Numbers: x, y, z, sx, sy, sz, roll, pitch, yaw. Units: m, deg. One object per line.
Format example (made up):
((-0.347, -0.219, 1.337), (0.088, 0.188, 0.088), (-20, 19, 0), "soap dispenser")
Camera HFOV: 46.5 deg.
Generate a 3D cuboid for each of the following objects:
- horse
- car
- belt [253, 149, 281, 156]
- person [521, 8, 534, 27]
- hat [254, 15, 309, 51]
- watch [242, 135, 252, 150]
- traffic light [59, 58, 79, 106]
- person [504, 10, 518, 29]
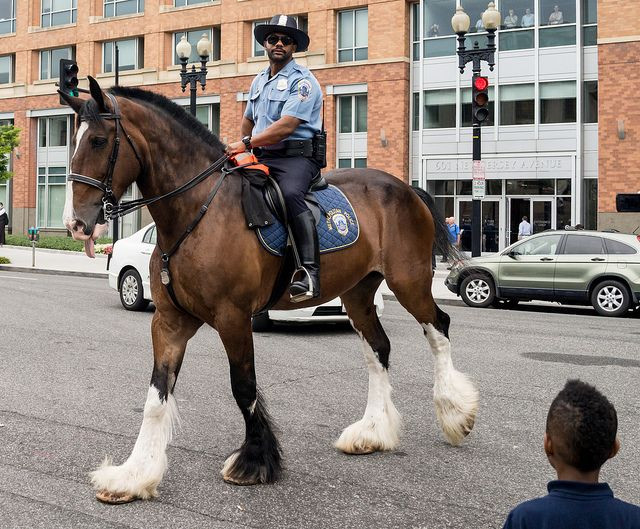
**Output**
((-0.258, 0.174, 5.824), (3.258, 3.093, 0.954), (-2, 2, -23), "horse")
((-1.858, 0.266, 13.666), (5.032, 1.984, 2.199), (-1, 0, 43), "car")
((-0.413, -0.874, 5.865), (0.124, 0.050, 0.097), (2, 9, 21), "belt")
((8.345, -9.842, 29.782), (0.491, 0.773, 0.251), (2, 8, 19), "person")
((-0.307, -1.916, 6.011), (0.442, 0.181, 0.417), (5, 7, -36), "hat")
((-0.543, -0.912, 5.611), (0.074, 0.125, 0.112), (-6, 22, -10), "watch")
((-2.631, -1.905, 7.819), (0.123, 0.459, 0.162), (7, 9, 32), "traffic light")
((7.758, -9.895, 30.106), (0.572, 0.778, 0.163), (4, 8, 32), "person")
